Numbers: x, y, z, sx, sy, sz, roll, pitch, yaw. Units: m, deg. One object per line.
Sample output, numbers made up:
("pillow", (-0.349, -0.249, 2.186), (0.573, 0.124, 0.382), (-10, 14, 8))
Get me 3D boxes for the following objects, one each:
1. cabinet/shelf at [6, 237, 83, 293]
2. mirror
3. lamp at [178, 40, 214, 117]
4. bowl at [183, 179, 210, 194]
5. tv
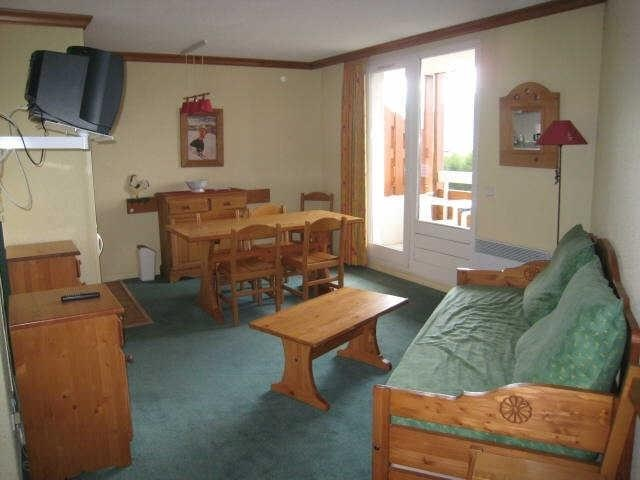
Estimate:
("cabinet/shelf", (-2.292, 0.110, 4.225), (0.655, 0.572, 0.420), (-5, 25, -26))
("mirror", (1.958, -1.064, 4.612), (0.627, 0.781, 0.016), (-3, 6, -11))
("lamp", (-1.563, -2.036, 6.113), (0.861, 0.950, 0.203), (5, 5, 43))
("bowl", (-1.571, -0.710, 6.406), (0.219, 0.127, 0.215), (0, 18, 0))
("tv", (-1.686, -0.988, 3.480), (0.670, 0.593, 0.713), (-1, 14, -34))
